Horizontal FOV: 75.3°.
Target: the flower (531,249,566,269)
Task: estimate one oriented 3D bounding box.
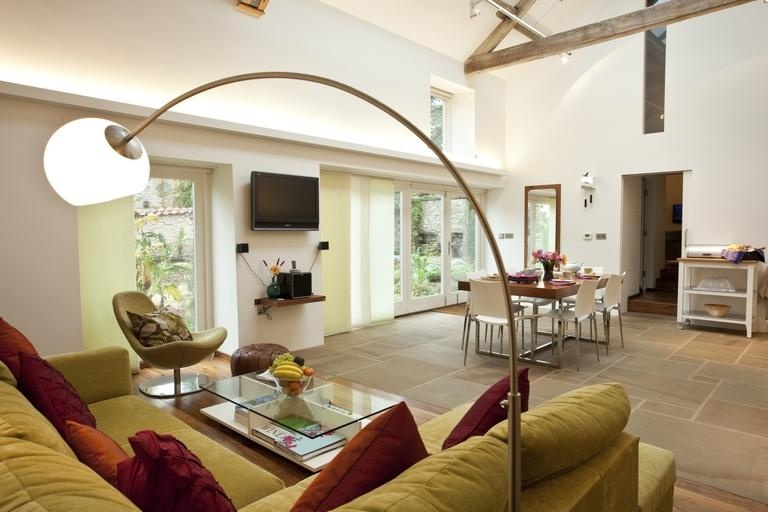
[{"bbox_3d":[2.160,0.024,6.446,0.391,0.197,0.353,4,5,6],"label":"flower"}]

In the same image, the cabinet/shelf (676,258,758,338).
[{"bbox_3d":[4.928,0.622,7.298,0.955,0.961,0.541,5,12,36],"label":"cabinet/shelf"}]

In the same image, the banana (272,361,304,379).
[{"bbox_3d":[-0.740,0.880,3.864,0.161,0.054,0.127,3,3,1],"label":"banana"}]

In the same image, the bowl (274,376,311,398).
[{"bbox_3d":[-0.704,1.025,3.918,0.180,0.087,0.182,-1,0,0],"label":"bowl"}]

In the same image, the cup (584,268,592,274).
[{"bbox_3d":[2.779,0.195,6.759,0.075,0.053,0.068,-4,7,-11],"label":"cup"}]

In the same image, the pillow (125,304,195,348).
[{"bbox_3d":[-2.098,0.526,4.661,0.290,0.255,0.660,1,-1,12],"label":"pillow"}]

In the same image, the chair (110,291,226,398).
[{"bbox_3d":[-2.103,0.830,4.924,1.009,0.914,0.909,0,1,13],"label":"chair"}]

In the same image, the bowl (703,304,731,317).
[{"bbox_3d":[4.969,0.795,7.351,0.348,0.181,0.276,1,8,7],"label":"bowl"}]

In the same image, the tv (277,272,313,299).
[{"bbox_3d":[-1.080,0.349,6.084,0.331,0.336,0.328,-1,0,33],"label":"tv"}]

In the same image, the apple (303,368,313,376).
[{"bbox_3d":[-0.609,0.943,4.051,0.057,0.037,0.069,-1,2,8],"label":"apple"}]

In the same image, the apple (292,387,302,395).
[{"bbox_3d":[-0.676,1.048,3.873,0.057,0.056,0.056,3,-37,18],"label":"apple"}]

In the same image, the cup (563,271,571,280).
[{"bbox_3d":[2.325,0.246,6.315,0.089,0.071,0.090,-2,0,0],"label":"cup"}]

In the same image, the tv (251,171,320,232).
[{"bbox_3d":[-1.233,-0.671,6.020,0.105,0.576,0.797,-3,-2,43],"label":"tv"}]

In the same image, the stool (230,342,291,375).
[{"bbox_3d":[-1.322,1.033,5.164,0.385,0.253,0.391,1,4,7],"label":"stool"}]

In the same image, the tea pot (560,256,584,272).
[{"bbox_3d":[2.795,0.115,7.370,0.248,0.189,0.342,-2,-2,-5],"label":"tea pot"}]

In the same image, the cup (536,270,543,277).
[{"bbox_3d":[2.096,0.230,6.704,0.093,0.069,0.086,-2,5,0],"label":"cup"}]

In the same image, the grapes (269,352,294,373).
[{"bbox_3d":[-0.842,0.844,4.068,0.234,0.151,0.259,3,0,3],"label":"grapes"}]

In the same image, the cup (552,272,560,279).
[{"bbox_3d":[2.221,0.243,6.398,0.077,0.059,0.078,-2,5,0],"label":"cup"}]
